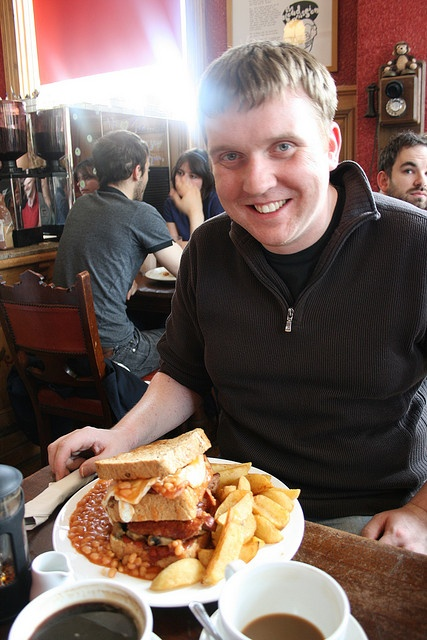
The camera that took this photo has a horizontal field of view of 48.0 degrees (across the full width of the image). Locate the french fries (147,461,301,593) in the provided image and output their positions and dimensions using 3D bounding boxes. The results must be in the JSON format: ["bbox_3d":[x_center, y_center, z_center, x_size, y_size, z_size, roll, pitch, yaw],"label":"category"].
[{"bbox_3d":[0.024,0.265,0.601,0.120,0.041,0.110,-38,9,-7],"label":"french fries"}]

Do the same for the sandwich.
[{"bbox_3d":[-0.058,0.225,0.646,0.153,0.063,0.120,-27,21,-20],"label":"sandwich"}]
